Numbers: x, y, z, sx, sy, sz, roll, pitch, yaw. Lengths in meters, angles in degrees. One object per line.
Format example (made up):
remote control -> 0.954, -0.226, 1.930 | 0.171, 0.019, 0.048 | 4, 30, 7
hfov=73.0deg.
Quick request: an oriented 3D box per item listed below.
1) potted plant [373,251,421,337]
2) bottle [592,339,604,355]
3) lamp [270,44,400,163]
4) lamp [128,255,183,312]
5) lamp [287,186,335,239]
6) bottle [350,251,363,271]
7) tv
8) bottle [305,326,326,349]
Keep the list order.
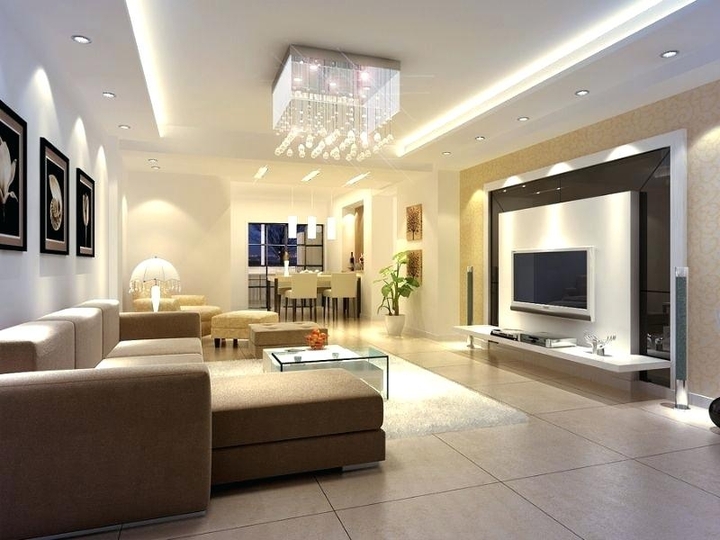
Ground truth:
potted plant -> 0.681, 0.378, 9.130 | 0.631, 1.450, 1.683 | 0, 4, -1
bottle -> 2.405, 0.791, 4.954 | 0.084, 0.129, 0.218 | 1, 4, 11
lamp -> -0.247, -1.619, 5.022 | 1.215, 0.868, 1.099 | -1, 4, -16
lamp -> -2.638, 0.174, 6.430 | 0.638, 0.718, 0.668 | 0, 1, -1
lamp -> -1.212, -1.575, 12.532 | 1.231, 0.836, 1.456 | -1, 4, -9
bottle -> -0.098, -0.203, 11.852 | 0.171, 0.465, 0.635 | -2, 4, -22
tv -> 2.268, 0.136, 5.781 | 0.097, 0.823, 1.142 | -2, 5, -25
bottle -> -0.467, 0.763, 5.311 | 0.277, 0.295, 0.291 | 2, -8, -9
